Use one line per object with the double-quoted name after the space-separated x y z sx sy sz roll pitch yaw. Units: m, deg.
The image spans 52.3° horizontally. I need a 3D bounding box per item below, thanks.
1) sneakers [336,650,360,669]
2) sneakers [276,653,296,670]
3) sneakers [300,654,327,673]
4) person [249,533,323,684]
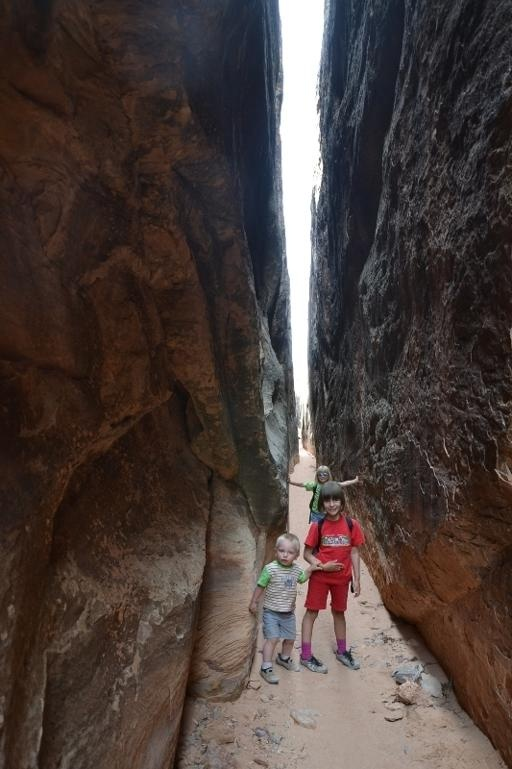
0.605 1.798 3.418 0.058 0.109 0.170 4 -14 -28 "sneakers"
0.191 1.781 3.378 0.056 0.093 0.145 17 -11 -40 "sneakers"
0.365 1.766 3.316 0.146 0.102 0.073 -11 -18 41 "sneakers"
0.163 1.378 3.328 0.403 0.933 0.495 0 1 -1 "person"
